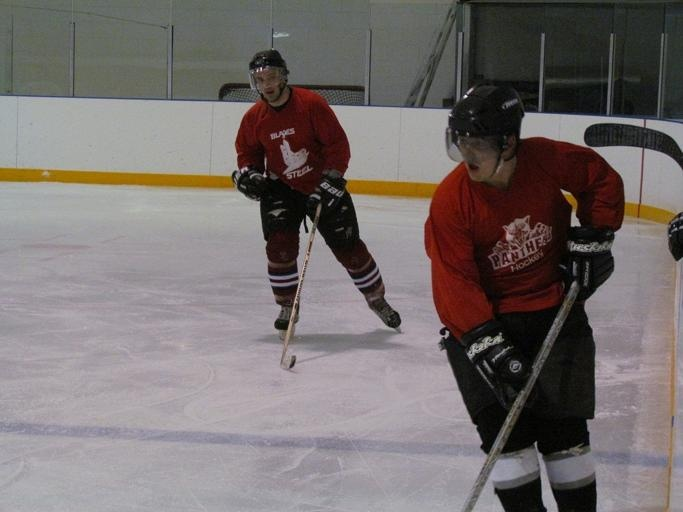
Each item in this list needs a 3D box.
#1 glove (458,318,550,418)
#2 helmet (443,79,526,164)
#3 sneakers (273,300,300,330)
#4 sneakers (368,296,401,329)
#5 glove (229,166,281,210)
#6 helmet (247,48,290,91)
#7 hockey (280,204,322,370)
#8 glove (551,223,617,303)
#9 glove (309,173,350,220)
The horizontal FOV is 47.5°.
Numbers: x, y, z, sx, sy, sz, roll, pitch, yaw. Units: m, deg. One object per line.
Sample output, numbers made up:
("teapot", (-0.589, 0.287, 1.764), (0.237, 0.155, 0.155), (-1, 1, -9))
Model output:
("glove", (0.405, 0.296, 2.100), (0.122, 0.256, 0.272), (-21, 36, -28))
("helmet", (0.393, -0.381, 2.223), (0.264, 0.225, 0.202), (-20, 18, -28))
("sneakers", (-0.275, 0.313, 3.988), (0.079, 0.135, 0.221), (1, 5, 13))
("sneakers", (0.224, 0.309, 4.105), (0.123, 0.208, 0.087), (-27, 16, 49))
("glove", (-0.434, -0.367, 3.954), (0.225, 0.151, 0.091), (25, 55, 6))
("helmet", (-0.361, -0.913, 3.817), (0.185, 0.203, 0.233), (-1, 13, -6))
("hockey", (-0.221, 0.182, 4.077), (0.115, 0.055, 1.102), (1, 41, 14))
("glove", (0.660, 0.009, 2.194), (0.221, 0.252, 0.204), (2, 0, -6))
("glove", (-0.072, -0.302, 3.857), (0.139, 0.222, 0.055), (30, 8, -1))
